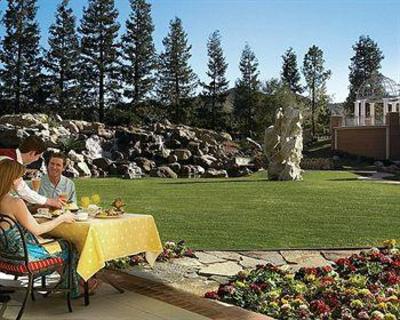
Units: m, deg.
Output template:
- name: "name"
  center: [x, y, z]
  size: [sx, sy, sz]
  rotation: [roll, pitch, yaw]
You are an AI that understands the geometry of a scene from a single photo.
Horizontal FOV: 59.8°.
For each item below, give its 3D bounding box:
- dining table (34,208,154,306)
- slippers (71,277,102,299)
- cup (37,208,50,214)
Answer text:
- name: "dining table"
  center: [-1.192, 1.165, 4.812]
  size: [1.059, 0.557, 1.070]
  rotation: [3, 7, 43]
- name: "slippers"
  center: [-1.532, 1.714, 4.701]
  size: [0.342, 0.159, 0.350]
  rotation: [-10, -8, -31]
- name: "cup"
  center: [-2.169, 0.701, 4.763]
  size: [0.102, 0.051, 0.089]
  rotation: [-4, -2, 9]
